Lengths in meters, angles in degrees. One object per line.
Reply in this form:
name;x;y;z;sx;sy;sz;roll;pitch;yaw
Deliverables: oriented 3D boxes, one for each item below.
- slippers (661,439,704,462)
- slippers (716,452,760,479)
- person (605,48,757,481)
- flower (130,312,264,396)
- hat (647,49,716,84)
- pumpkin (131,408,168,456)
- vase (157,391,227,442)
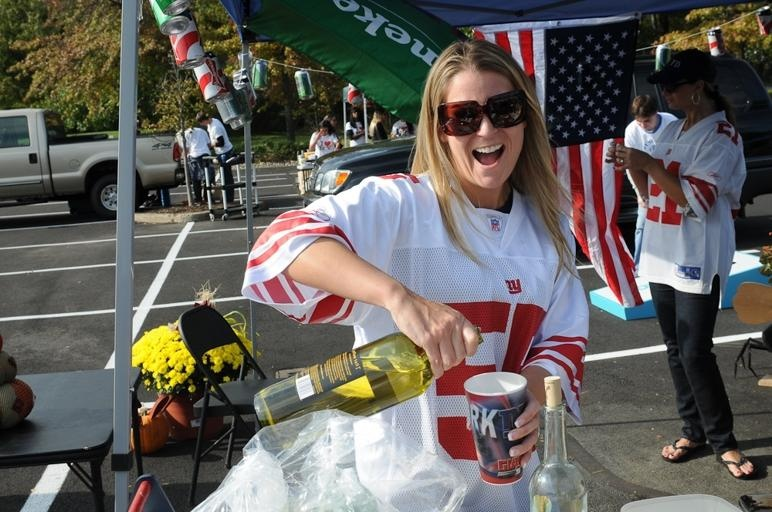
slippers;2.361;1.532;6.203;0.301;0.083;0.167;-11;21;-12
slippers;2.687;1.594;5.990;0.160;0.092;0.299;-25;10;-9
person;2.396;0.040;6.050;0.716;3.213;0.962;-14;14;-37
flower;-1.669;0.944;6.695;0.744;0.515;0.818;-3;18;23
hat;2.291;-1.450;6.033;0.412;0.216;0.268;1;22;5
pumpkin;-1.965;1.486;6.607;0.326;0.298;0.324;1;-2;-10
vase;-1.691;1.430;6.770;0.470;0.358;0.473;0;-4;0
